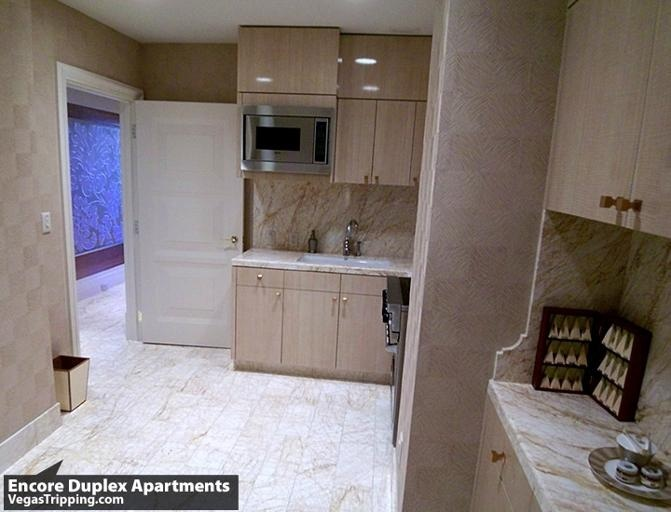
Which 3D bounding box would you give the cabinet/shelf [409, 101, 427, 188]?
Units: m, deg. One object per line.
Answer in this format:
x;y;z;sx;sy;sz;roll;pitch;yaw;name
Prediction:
0.631;-0.854;3.815;0.101;0.624;0.091;4;12;22;cabinet/shelf

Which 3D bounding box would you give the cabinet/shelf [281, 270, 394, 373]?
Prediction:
0.038;0.465;3.804;0.695;0.674;0.285;1;3;11;cabinet/shelf

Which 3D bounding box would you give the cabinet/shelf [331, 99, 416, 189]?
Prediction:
0.297;-0.952;3.976;0.618;0.634;0.307;-2;25;-7;cabinet/shelf

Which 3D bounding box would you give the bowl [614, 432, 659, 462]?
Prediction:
1.077;0.683;1.778;0.092;0.083;0.109;4;11;26;bowl

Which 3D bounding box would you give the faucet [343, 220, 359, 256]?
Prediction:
0.135;-0.156;4.248;0.133;0.306;0.110;-1;11;-1;faucet
